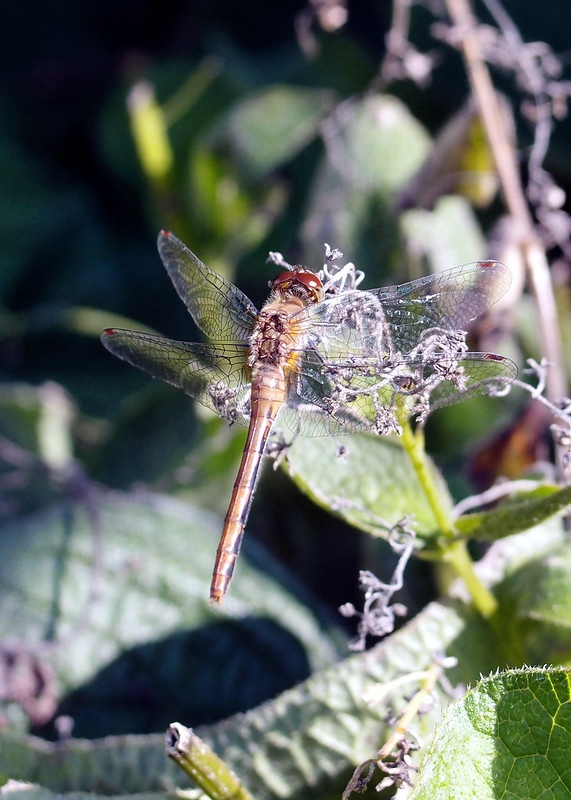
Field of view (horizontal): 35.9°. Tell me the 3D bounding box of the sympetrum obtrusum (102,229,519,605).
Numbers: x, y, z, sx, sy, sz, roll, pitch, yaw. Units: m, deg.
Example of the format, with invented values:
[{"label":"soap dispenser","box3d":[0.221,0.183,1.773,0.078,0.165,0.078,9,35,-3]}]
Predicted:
[{"label":"sympetrum obtrusum","box3d":[0.007,0.015,0.600,0.145,0.350,0.235,5,94,24]}]
